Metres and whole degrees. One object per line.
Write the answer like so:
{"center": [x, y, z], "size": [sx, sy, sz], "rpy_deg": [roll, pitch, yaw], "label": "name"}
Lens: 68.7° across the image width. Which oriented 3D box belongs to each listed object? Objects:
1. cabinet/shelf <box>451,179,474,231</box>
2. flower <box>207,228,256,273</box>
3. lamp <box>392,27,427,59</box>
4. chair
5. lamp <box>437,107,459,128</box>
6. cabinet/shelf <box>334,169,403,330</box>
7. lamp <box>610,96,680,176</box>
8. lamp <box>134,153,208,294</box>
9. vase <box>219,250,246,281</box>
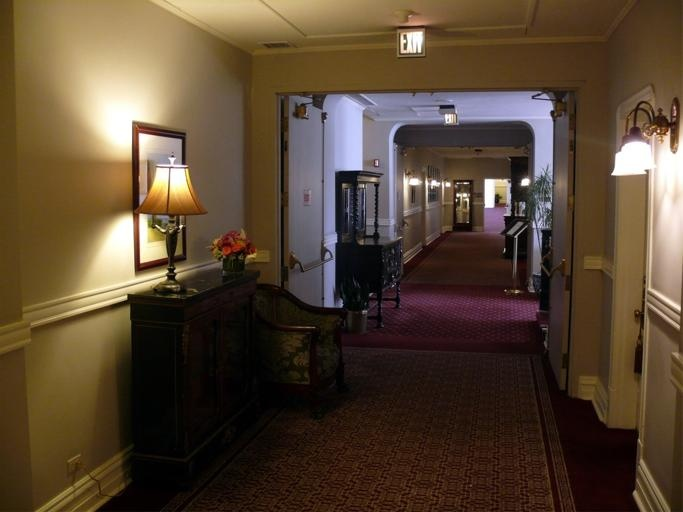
{"center": [5.659, -2.382, 23.468], "size": [0.882, 2.353, 0.365], "rpy_deg": [1, 6, 13], "label": "cabinet/shelf"}
{"center": [-0.944, -0.066, 4.340], "size": [0.353, 0.366, 0.364], "rpy_deg": [7, 19, 11], "label": "flower"}
{"center": [0.600, -1.870, 4.369], "size": [0.233, 0.261, 0.168], "rpy_deg": [0, 6, 0], "label": "lamp"}
{"center": [-0.316, 0.805, 5.044], "size": [0.937, 1.373, 1.021], "rpy_deg": [1, 6, 15], "label": "chair"}
{"center": [1.974, -2.616, 9.208], "size": [0.442, 0.510, 0.384], "rpy_deg": [2, 14, 15], "label": "lamp"}
{"center": [0.422, -0.081, 8.228], "size": [0.844, 3.168, 2.583], "rpy_deg": [-1, 4, 7], "label": "cabinet/shelf"}
{"center": [1.997, -0.817, 3.315], "size": [0.320, 0.541, 0.912], "rpy_deg": [3, 8, 29], "label": "lamp"}
{"center": [-1.229, -0.243, 3.572], "size": [0.435, 0.946, 0.589], "rpy_deg": [-3, 7, -27], "label": "lamp"}
{"center": [-0.925, 0.078, 4.160], "size": [0.181, 0.226, 0.199], "rpy_deg": [3, 10, 13], "label": "vase"}
